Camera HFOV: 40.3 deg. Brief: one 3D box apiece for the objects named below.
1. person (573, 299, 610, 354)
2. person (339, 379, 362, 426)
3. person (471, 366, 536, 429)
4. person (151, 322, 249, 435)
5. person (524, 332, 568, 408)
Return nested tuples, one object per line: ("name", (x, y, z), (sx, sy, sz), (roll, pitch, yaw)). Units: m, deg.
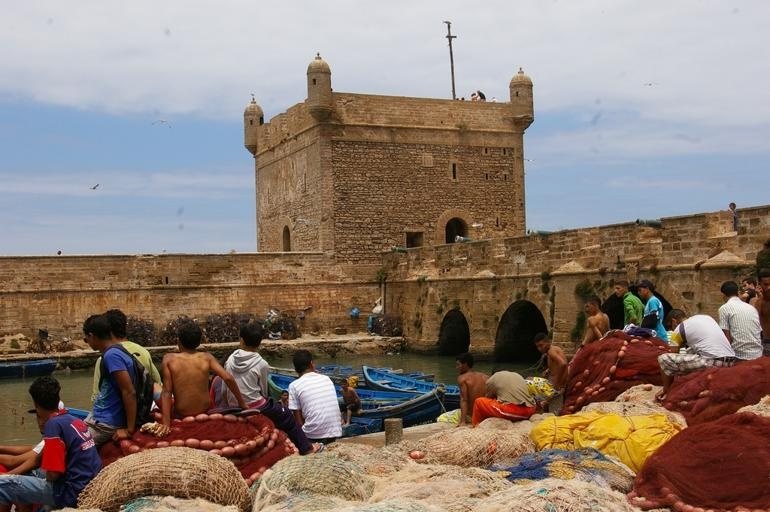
("person", (3.892, 1.203, 19.358), (0.498, 0.906, 1.004), (-3, -2, 11))
("person", (-0.703, 2.974, 21.128), (0.433, 0.701, 0.430), (-27, -50, 11))
("person", (2.051, 2.568, 18.673), (1.024, 1.356, 1.021), (0, 10, -24))
("person", (-2.922, 1.820, 15.721), (1.340, 1.628, 0.442), (-2, -2, -13))
("person", (2.974, 2.087, 19.137), (0.729, 1.383, 1.321), (-3, -2, 8))
